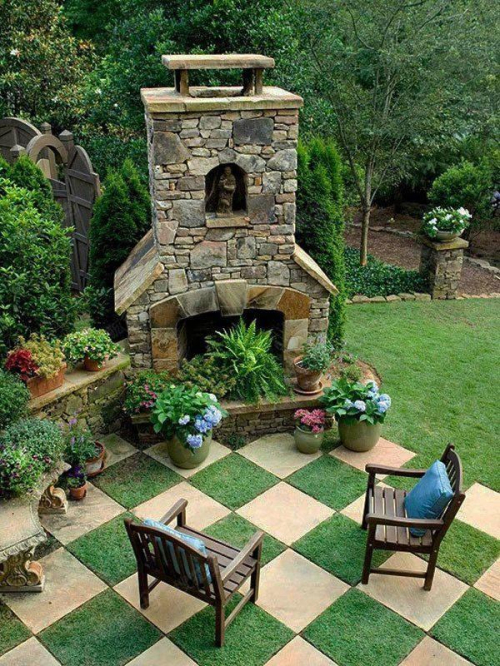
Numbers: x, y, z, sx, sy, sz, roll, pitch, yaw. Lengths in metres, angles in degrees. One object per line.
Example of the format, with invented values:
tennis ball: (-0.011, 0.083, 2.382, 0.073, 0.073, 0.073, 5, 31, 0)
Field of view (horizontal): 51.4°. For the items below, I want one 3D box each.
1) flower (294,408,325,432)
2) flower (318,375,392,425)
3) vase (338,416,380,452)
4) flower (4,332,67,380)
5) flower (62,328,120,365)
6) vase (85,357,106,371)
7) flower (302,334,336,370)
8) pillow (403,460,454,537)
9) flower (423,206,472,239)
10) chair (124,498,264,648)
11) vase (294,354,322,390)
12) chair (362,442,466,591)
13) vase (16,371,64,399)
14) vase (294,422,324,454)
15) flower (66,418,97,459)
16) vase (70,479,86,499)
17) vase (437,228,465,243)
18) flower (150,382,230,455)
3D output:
flower: (0.746, 1.063, 6.197, 0.304, 0.189, 0.270, 6, 13, -12)
flower: (1.232, 0.827, 6.140, 0.795, 0.456, 0.571, 6, 11, 17)
vase: (1.308, 1.220, 6.198, 0.473, 0.340, 0.458, 1, 9, 4)
flower: (-2.323, 0.231, 5.619, 0.534, 0.346, 0.508, -1, 21, -20)
flower: (-1.876, 0.138, 6.110, 0.498, 0.334, 0.477, 1, 14, -6)
vase: (-1.855, 0.380, 6.144, 0.185, 0.113, 0.179, 1, 7, -6)
flower: (0.871, 0.245, 6.655, 0.399, 0.299, 0.478, 1, 7, -5)
pillow: (1.519, 1.408, 4.367, 0.403, 0.597, 0.717, 3, 23, 17)
flower: (4.266, -2.441, 11.385, 0.897, 0.584, 0.865, 0, 21, 3)
chair: (-0.403, 1.739, 4.038, 0.862, 1.011, 0.829, 9, 22, 15)
vase: (0.721, 0.514, 6.654, 0.406, 0.330, 0.391, 0, 16, -1)
chair: (1.348, 1.576, 4.574, 0.761, 1.010, 0.768, 4, 22, 5)
vase: (-2.202, 0.544, 5.623, 0.206, 0.120, 0.301, 18, 27, 30)
vase: (0.723, 1.272, 6.296, 0.327, 0.238, 0.348, 3, 5, 12)
flower: (-1.886, 1.163, 5.683, 0.379, 0.455, 0.468, -2, 12, -28)
vase: (-1.821, 1.671, 5.556, 0.184, 0.152, 0.182, 2, 10, -2)
vase: (4.289, -2.072, 11.222, 0.506, 0.249, 0.368, 4, 11, 7)
flower: (-0.752, 0.978, 5.792, 0.771, 0.650, 0.720, 13, 15, 43)
